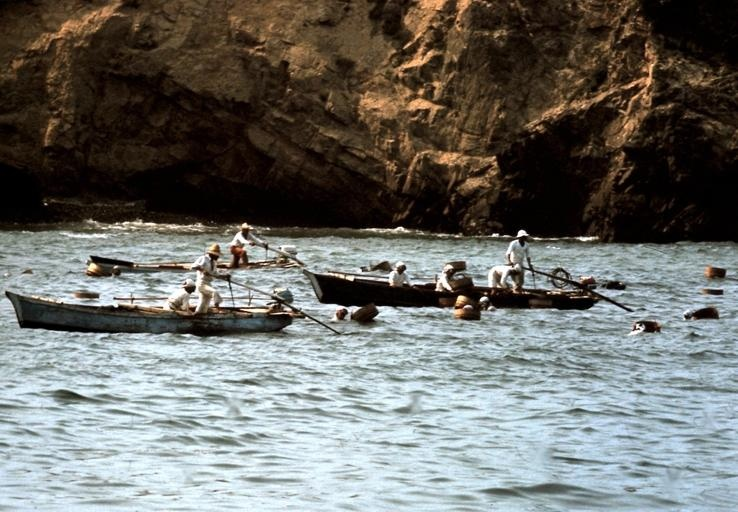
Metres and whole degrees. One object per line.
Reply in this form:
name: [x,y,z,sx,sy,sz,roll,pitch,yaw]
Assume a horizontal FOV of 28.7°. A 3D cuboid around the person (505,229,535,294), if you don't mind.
person: [5.932,0.304,57.787,1.405,2.421,0.913,-1,7,-27]
